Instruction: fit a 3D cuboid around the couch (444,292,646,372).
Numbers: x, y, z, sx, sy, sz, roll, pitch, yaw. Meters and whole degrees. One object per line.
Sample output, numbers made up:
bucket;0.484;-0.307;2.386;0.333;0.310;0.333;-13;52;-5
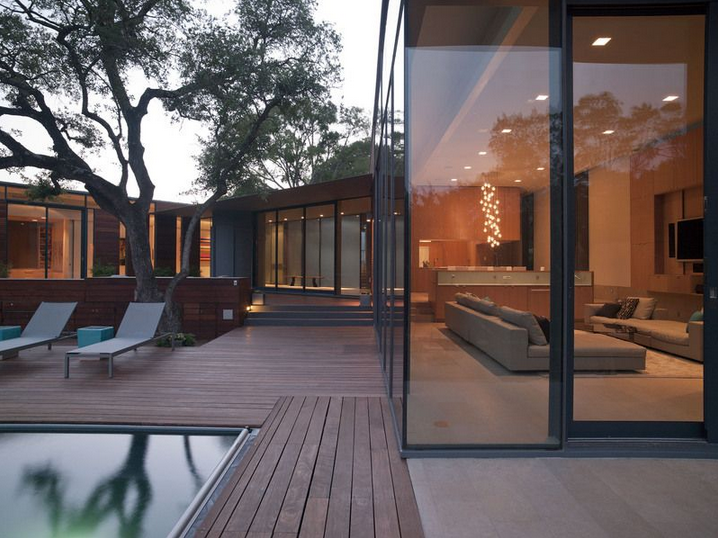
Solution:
couch;1.689;0.591;5.022;1.801;0.700;0.188;0;12;-2

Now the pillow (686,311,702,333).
pillow;3.220;0.496;5.158;0.069;0.200;0.188;4;9;1

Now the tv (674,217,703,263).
tv;3.166;-0.277;5.155;0.387;0.443;0.055;1;-2;12
